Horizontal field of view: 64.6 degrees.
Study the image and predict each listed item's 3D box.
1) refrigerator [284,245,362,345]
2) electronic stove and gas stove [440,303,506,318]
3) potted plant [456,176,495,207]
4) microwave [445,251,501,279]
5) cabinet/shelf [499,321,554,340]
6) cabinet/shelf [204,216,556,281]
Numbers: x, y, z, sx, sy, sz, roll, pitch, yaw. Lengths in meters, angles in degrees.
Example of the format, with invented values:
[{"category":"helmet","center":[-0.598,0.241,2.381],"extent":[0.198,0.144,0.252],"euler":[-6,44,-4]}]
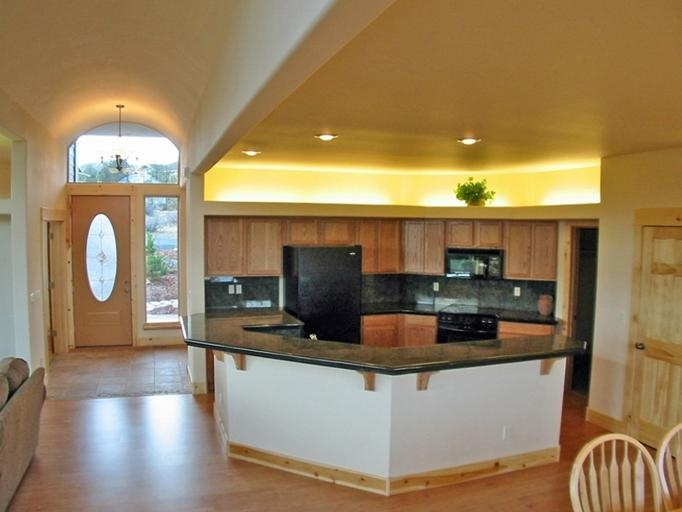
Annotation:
[{"category":"refrigerator","center":[-0.193,0.435,7.844],"extent":[1.166,1.514,1.111],"euler":[10,21,23]},{"category":"electronic stove and gas stove","center":[1.968,0.827,8.137],"extent":[0.907,0.075,0.678],"euler":[4,9,18]},{"category":"potted plant","center":[1.977,-0.964,8.012],"extent":[0.540,0.341,0.509],"euler":[0,10,1]},{"category":"microwave","center":[1.990,0.106,8.053],"extent":[0.741,0.415,0.427],"euler":[2,6,15]},{"category":"cabinet/shelf","center":[2.594,1.047,7.567],"extent":[0.758,0.292,0.148],"euler":[4,10,19]},{"category":"cabinet/shelf","center":[0.581,-0.138,8.012],"extent":[4.961,0.908,1.027],"euler":[0,9,-2]}]
